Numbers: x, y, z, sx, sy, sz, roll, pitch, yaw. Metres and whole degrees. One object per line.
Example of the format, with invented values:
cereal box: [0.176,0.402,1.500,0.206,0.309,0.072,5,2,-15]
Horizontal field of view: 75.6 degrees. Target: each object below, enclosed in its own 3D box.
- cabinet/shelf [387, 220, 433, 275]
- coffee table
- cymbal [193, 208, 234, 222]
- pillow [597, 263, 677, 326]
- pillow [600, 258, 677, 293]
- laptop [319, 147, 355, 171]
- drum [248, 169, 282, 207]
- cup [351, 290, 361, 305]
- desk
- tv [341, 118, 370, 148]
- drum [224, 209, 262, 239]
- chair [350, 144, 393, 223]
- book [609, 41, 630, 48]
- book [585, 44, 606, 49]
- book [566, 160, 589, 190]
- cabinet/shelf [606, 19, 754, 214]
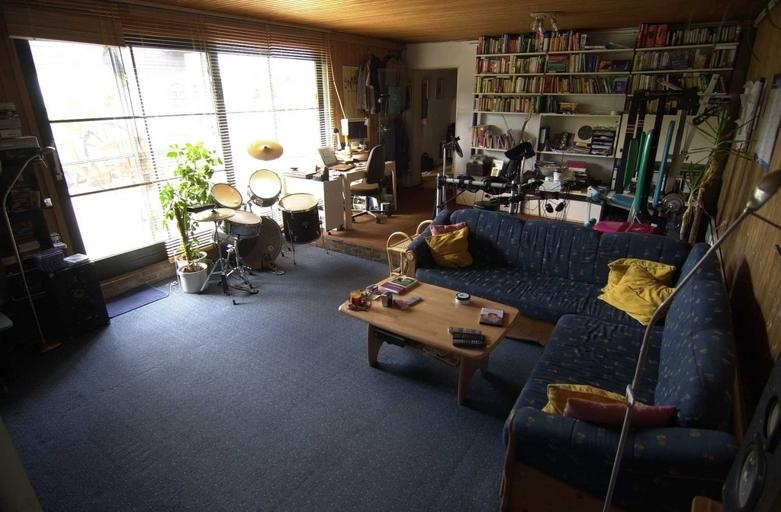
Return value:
cabinet/shelf: [0.249,-0.085,6.309,0.444,0.766,0.444,16,36,27]
coffee table: [0.581,0.404,4.842,1.567,0.706,1.046,16,35,28]
cymbal: [-2.096,-0.496,6.060,0.469,0.155,0.339,-9,21,-20]
pillow: [2.463,0.254,5.058,0.815,0.815,0.202,-6,-30,44]
pillow: [2.565,0.178,5.109,0.393,0.116,0.388,3,41,49]
laptop: [-0.835,-1.492,7.843,0.472,0.300,0.497,14,27,15]
drum: [-1.684,-0.928,6.857,0.335,0.452,0.512,6,22,22]
cup: [-0.338,0.404,4.989,0.115,0.084,0.114,0,9,0]
desk: [-0.548,-0.949,7.915,0.552,0.651,1.013,11,28,25]
tv: [-0.612,-2.075,8.501,0.278,0.424,0.515,14,23,33]
drum: [-1.830,-0.375,6.268,0.426,0.342,0.334,-13,23,-28]
chair: [-0.344,-1.200,8.282,0.719,1.174,0.783,-8,17,-21]
book: [3.352,-3.084,7.357,0.156,0.047,0.153,-2,20,-9]
book: [3.022,-3.074,7.416,0.139,0.032,0.137,-4,11,-15]
book: [3.043,-1.294,8.142,0.464,0.444,0.465,6,15,32]
cabinet/shelf: [3.754,-1.669,6.341,1.656,2.990,0.729,5,-1,15]
